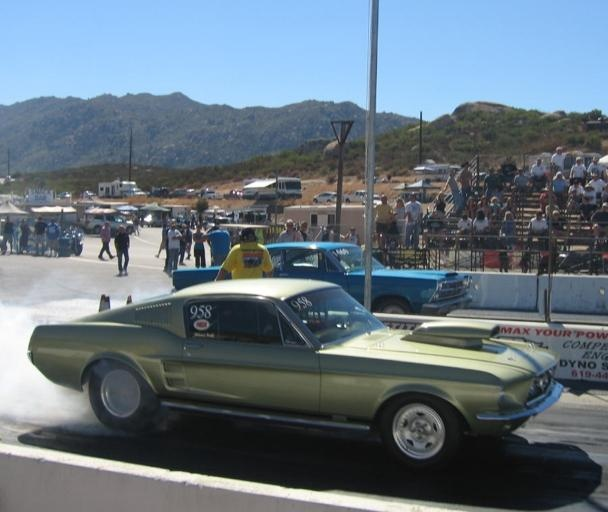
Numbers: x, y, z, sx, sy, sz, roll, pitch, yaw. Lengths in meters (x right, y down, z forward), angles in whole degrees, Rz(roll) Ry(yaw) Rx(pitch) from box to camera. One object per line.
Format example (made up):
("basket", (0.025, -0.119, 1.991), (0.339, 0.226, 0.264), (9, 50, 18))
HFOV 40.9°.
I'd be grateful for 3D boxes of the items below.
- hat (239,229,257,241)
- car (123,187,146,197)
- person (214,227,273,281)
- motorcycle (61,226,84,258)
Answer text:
("hat", (-0.701, -0.278, 10.254), (0.197, 0.175, 0.324), (0, 8, -5))
("car", (-20.109, -7.650, 95.556), (2.937, 1.001, 2.856), (8, 13, 41))
("person", (-0.741, -0.037, 10.271), (0.718, 0.656, 0.484), (-2, 7, -22))
("motorcycle", (-8.144, -0.530, 27.689), (0.511, 1.121, 0.983), (5, 7, 19))
